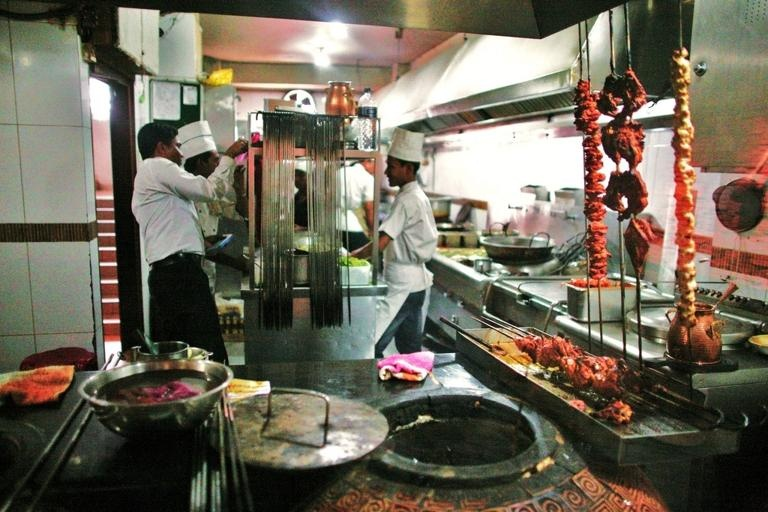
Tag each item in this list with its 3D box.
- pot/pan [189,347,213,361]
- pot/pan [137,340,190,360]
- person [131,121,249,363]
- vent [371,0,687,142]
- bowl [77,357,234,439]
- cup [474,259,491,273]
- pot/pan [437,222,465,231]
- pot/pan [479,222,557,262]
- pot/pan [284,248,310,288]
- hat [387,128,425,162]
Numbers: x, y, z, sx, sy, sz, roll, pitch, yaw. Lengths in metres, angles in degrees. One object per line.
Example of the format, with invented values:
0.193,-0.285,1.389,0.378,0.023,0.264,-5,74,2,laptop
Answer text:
-0.876,0.475,2.952,0.139,0.043,0.077,9,-2,-37,pot/pan
-1.032,0.448,2.853,0.248,0.071,0.247,-3,6,-18,pot/pan
-1.415,0.008,4.462,0.750,1.586,0.365,-3,8,-14,person
1.077,-1.687,5.611,0.822,0.929,3.605,-4,7,-21,vent
-0.937,0.592,2.582,0.582,0.172,0.526,-10,17,-40,bowl
0.856,0.083,5.358,0.144,0.115,0.143,-1,7,0,cup
0.807,-0.348,7.452,0.308,0.072,0.631,0,6,7,pot/pan
1.192,-0.097,5.407,0.683,0.251,0.678,2,6,1,pot/pan
-0.557,0.075,4.080,0.105,0.255,0.112,-3,8,-9,pot/pan
0.160,-0.875,4.875,0.295,0.217,0.278,11,11,31,hat
